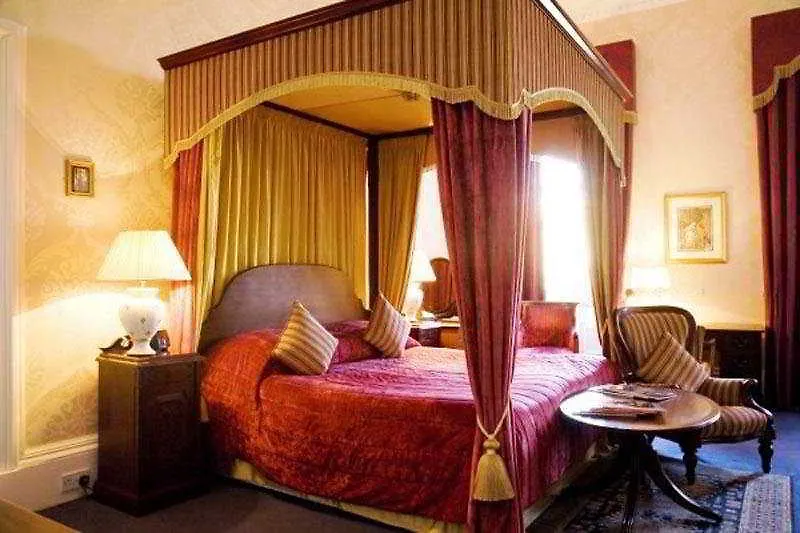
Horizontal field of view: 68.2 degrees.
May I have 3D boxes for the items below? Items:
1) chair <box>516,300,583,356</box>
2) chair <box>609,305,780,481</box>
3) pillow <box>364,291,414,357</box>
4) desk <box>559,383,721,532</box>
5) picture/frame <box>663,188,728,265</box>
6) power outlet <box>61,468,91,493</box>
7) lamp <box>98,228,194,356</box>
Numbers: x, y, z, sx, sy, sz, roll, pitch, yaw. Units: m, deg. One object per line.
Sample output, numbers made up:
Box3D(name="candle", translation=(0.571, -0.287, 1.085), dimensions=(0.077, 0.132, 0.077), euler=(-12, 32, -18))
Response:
Box3D(name="chair", translation=(2.070, 0.866, 8.394), dimensions=(0.683, 0.926, 0.747), euler=(-2, -6, 27))
Box3D(name="chair", translation=(3.040, 1.243, 6.284), dimensions=(1.038, 1.744, 1.340), euler=(-2, -8, -9))
Box3D(name="pillow", translation=(-0.123, 0.666, 6.529), dimensions=(0.188, 0.612, 0.634), euler=(-10, -41, 41))
Box3D(name="desk", translation=(2.071, 1.574, 5.226), dimensions=(1.105, 0.816, 1.109), euler=(-5, 5, -32))
Box3D(name="picture/frame", translation=(4.460, -0.548, 8.974), dimensions=(0.796, 1.163, 0.047), euler=(0, 31, 30))
Box3D(name="power outlet", translation=(-2.970, 1.960, 5.391), dimensions=(0.037, 0.191, 0.258), euler=(-3, -3, 37))
Box3D(name="lamp", translation=(-2.244, 0.236, 5.590), dimensions=(0.989, 1.351, 0.977), euler=(0, -2, -39))
